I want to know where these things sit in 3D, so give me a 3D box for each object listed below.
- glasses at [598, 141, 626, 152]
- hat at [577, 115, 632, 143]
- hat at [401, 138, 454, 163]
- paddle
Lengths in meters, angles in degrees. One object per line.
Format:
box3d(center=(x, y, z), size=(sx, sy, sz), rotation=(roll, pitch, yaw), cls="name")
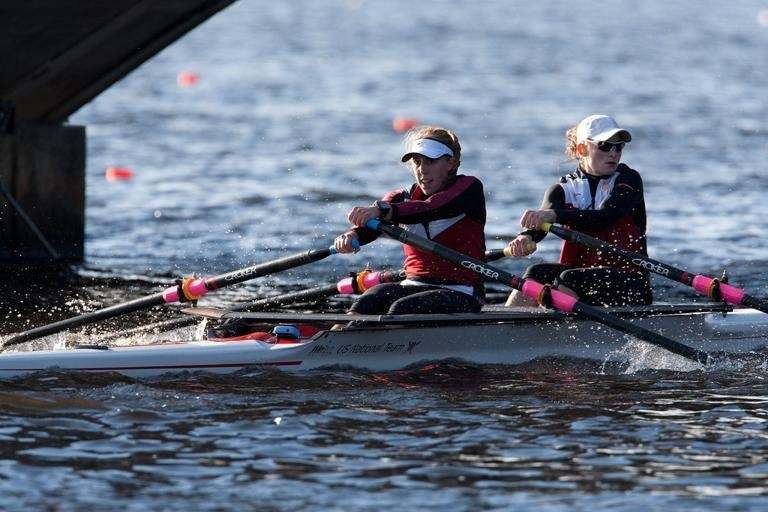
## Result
box3d(center=(2.509, -1.202, 14.988), size=(0.324, 0.095, 0.104), rotation=(5, -2, -22), cls="glasses")
box3d(center=(2.402, -1.411, 15.079), size=(0.381, 0.181, 0.519), rotation=(-4, 0, -42), cls="hat")
box3d(center=(0.475, -1.100, 14.348), size=(0.308, 0.097, 0.410), rotation=(-3, -8, 40), cls="hat")
box3d(center=(1.922, 0.493, 14.990), size=(6.338, 0.349, 0.371), rotation=(14, 41, -4), cls="paddle")
